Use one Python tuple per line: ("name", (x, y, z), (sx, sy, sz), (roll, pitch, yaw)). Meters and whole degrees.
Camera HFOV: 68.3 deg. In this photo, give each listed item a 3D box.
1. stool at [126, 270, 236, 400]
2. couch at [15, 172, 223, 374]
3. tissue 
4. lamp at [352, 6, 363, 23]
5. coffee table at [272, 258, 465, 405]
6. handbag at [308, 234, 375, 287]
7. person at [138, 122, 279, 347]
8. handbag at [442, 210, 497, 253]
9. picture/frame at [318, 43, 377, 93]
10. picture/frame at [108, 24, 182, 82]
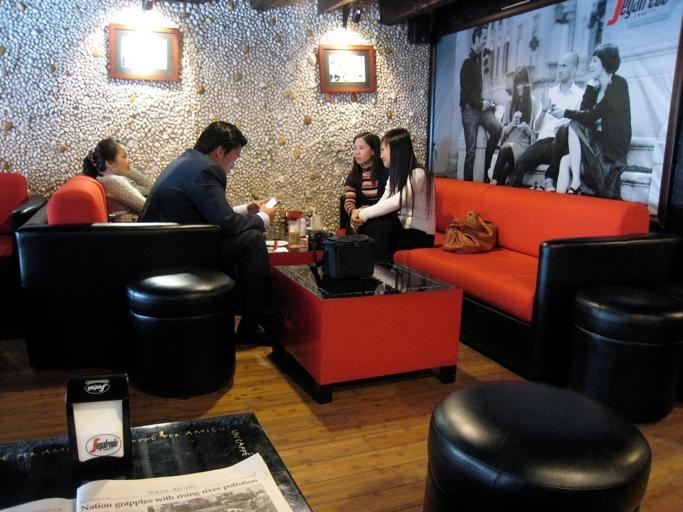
("stool", (-0.840, 0.369, 2.699), (0.532, 0.608, 0.533), (-6, 17, -30))
("couch", (-1.468, -0.061, 3.432), (1.031, 1.042, 1.508), (2, 17, -26))
("tissue ", (-0.673, 0.461, 1.444), (0.174, 0.243, 0.148), (-2, 8, -3))
("lamp", (0.150, -2.258, 4.690), (0.070, 0.125, 0.124), (3, 32, -11))
("coffee table", (0.119, 0.383, 2.871), (0.927, 0.591, 0.647), (-6, 14, -16))
("handbag", (0.041, -0.010, 2.845), (0.324, 0.271, 0.282), (-8, 15, -25))
("person", (-0.847, -0.179, 3.345), (0.849, 1.367, 0.721), (-1, 11, -16))
("handbag", (0.952, -0.193, 3.777), (0.262, 0.141, 0.354), (-1, 21, 8))
("picture/frame", (0.054, -1.796, 4.794), (0.532, 0.426, 0.059), (5, 23, 11))
("picture/frame", (-1.662, -1.723, 4.214), (0.487, 0.365, 0.049), (-2, 13, -16))
